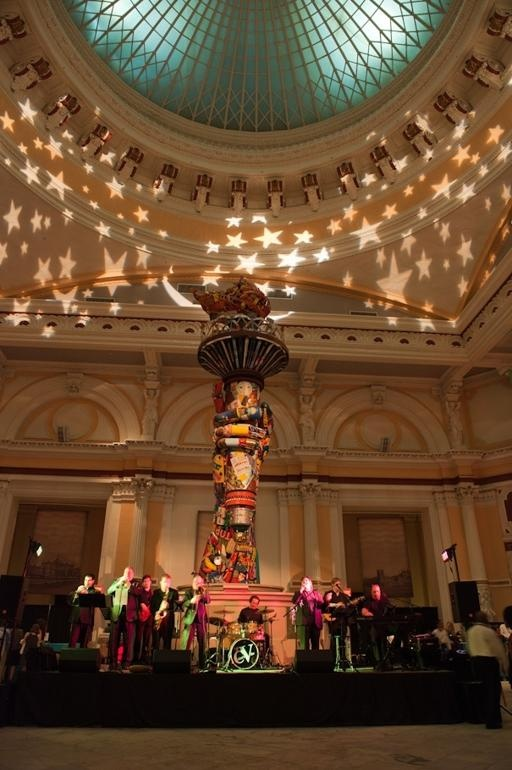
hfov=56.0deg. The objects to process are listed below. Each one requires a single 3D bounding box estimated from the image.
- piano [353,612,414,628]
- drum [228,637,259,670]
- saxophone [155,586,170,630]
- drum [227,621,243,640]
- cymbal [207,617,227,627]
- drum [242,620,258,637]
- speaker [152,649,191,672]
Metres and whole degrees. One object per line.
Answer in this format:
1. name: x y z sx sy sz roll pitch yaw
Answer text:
1. piano: 1.517 2.773 5.769 0.707 0.138 0.478 -3 -24 7
2. drum: -0.150 2.786 5.074 0.319 0.279 0.304 -1 -25 2
3. saxophone: -1.394 3.244 7.081 0.197 0.515 0.646 4 -25 -9
4. drum: -0.251 2.875 5.738 0.156 0.146 0.153 -11 -43 8
5. cymbal: -0.478 3.110 6.421 0.324 0.075 0.318 6 -11 -14
6. drum: -0.072 2.861 5.722 0.120 0.107 0.118 18 -33 -30
7. speaker: -0.768 2.477 4.375 0.304 0.209 0.202 2 -2 4
